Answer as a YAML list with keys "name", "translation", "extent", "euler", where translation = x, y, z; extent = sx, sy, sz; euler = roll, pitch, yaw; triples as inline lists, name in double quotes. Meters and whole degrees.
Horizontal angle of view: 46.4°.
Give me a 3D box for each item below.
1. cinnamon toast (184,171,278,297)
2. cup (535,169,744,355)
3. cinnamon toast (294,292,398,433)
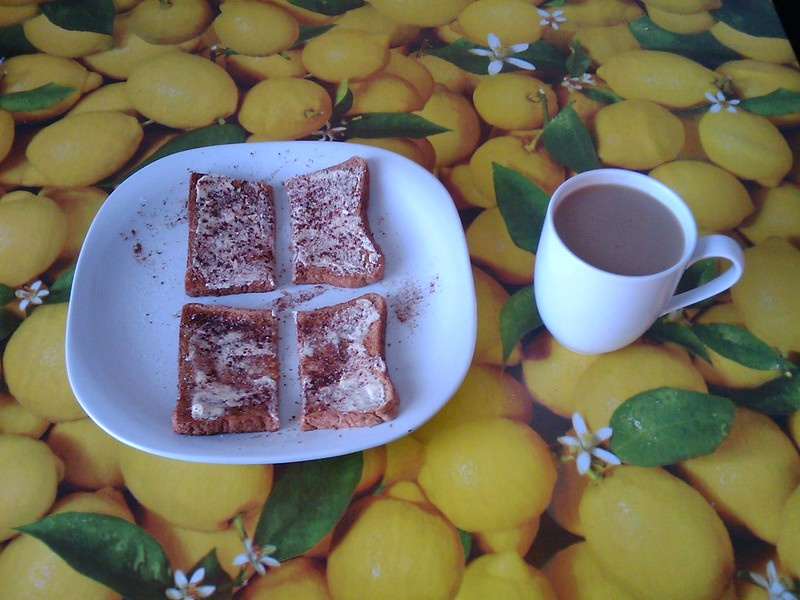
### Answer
- name: "cinnamon toast"
  translation: [-0.449, -0.186, 2.358]
  extent: [0.097, 0.418, 0.319]
  euler: [6, 94, 25]
- name: "cup"
  translation: [0.534, -0.056, 2.170]
  extent: [0.452, 0.347, 0.352]
  euler: [29, 54, 23]
- name: "cinnamon toast"
  translation: [-0.130, 0.139, 2.177]
  extent: [0.218, 0.140, 0.322]
  euler: [-5, 80, -6]
